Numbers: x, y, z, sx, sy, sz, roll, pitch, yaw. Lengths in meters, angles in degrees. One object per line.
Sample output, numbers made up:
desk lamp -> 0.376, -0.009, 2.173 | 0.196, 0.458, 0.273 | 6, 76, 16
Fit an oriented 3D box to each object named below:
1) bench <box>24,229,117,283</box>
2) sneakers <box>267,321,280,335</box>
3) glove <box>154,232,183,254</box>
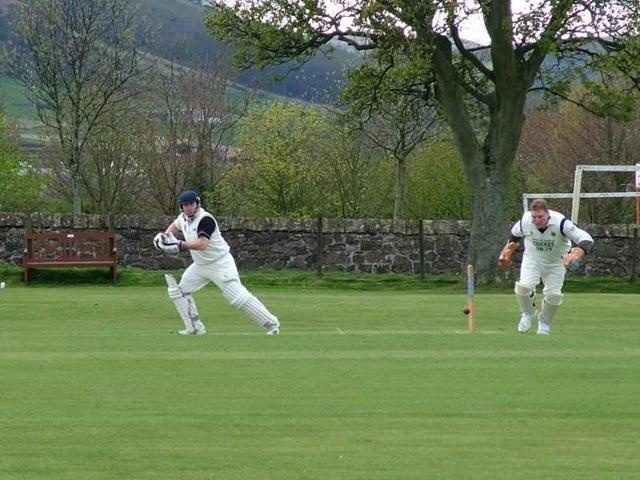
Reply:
bench -> -7.707, 0.552, 37.388 | 2.712, 1.558, 0.964 | -1, 3, -12
sneakers -> -1.082, 2.092, 28.387 | 0.156, 0.183, 0.418 | 2, 8, -9
glove -> -3.585, 0.126, 28.499 | 0.583, 0.434, 0.267 | 26, -18, 8
